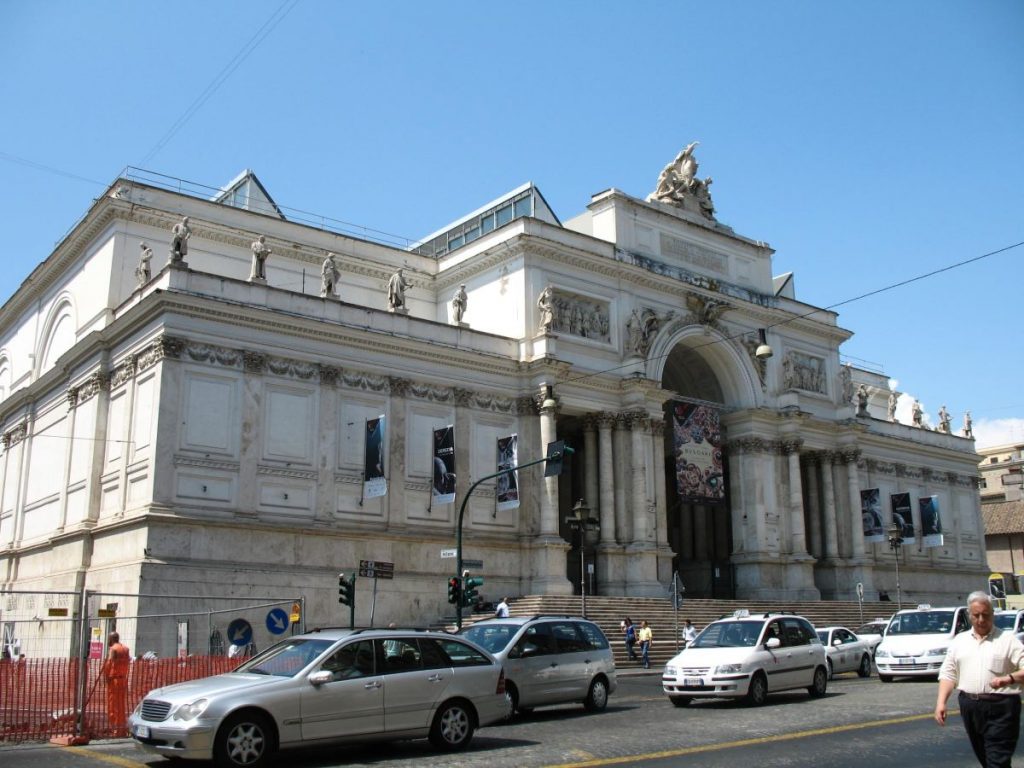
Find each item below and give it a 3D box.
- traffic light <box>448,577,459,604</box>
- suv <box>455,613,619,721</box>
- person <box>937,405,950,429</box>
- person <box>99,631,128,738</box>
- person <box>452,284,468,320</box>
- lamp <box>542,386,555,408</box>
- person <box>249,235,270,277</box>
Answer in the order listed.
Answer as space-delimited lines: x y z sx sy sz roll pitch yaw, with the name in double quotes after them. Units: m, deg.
-1.919 7.000 32.908 0.366 0.802 0.430 0 -16 -10 "traffic light"
0.829 6.849 23.614 3.541 1.573 2.132 16 -25 -36 "suv"
31.930 2.735 71.058 0.496 1.827 1.164 -12 -18 31 "person"
-8.660 6.674 21.004 0.513 1.866 0.581 5 -17 -25 "person"
-2.461 -3.648 44.953 0.587 2.046 1.140 0 -16 -10 "person"
1.734 0.656 44.687 0.750 1.282 0.846 1 -14 0 "lamp"
-10.421 -5.127 39.763 0.600 2.404 1.412 1 -16 -14 "person"
